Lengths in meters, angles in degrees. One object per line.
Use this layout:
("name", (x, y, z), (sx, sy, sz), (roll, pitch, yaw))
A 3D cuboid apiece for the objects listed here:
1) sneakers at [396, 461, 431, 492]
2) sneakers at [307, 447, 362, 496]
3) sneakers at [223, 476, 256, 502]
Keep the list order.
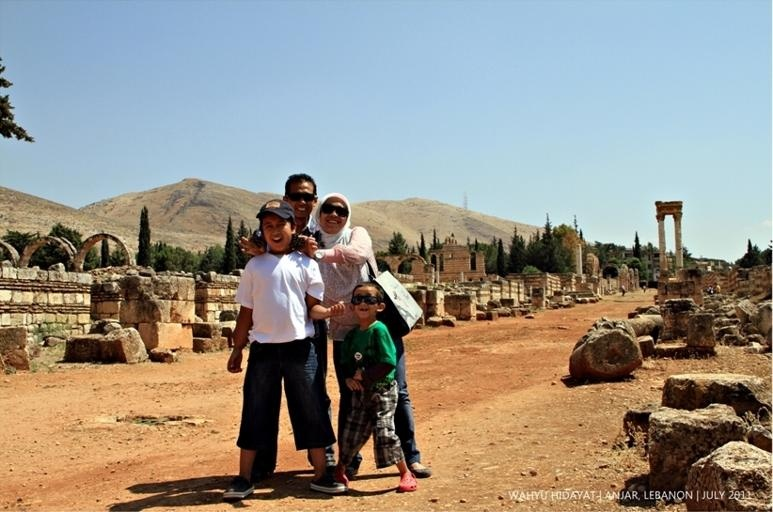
("sneakers", (0.208, 2.139, 5.895), (0.192, 0.262, 0.257), (0, -5, 2))
("sneakers", (-0.555, 2.121, 5.883), (0.225, 0.278, 0.650), (7, -13, -38))
("sneakers", (-1.391, 2.211, 5.732), (0.138, 0.127, 0.312), (-3, -15, 10))
